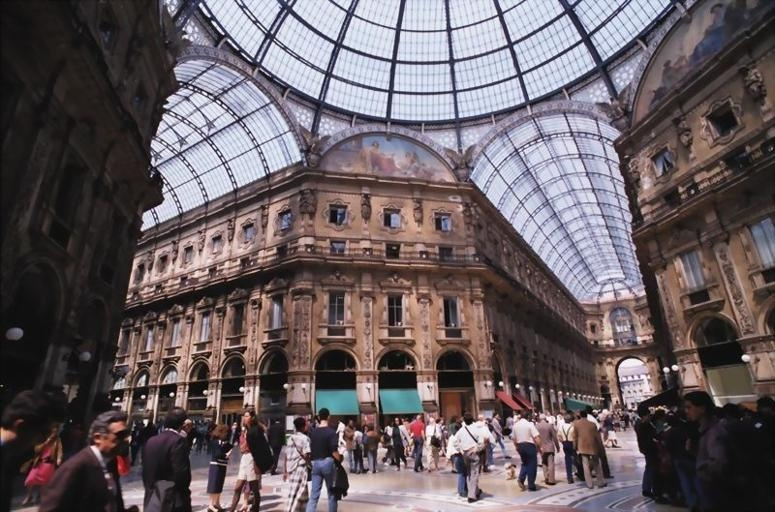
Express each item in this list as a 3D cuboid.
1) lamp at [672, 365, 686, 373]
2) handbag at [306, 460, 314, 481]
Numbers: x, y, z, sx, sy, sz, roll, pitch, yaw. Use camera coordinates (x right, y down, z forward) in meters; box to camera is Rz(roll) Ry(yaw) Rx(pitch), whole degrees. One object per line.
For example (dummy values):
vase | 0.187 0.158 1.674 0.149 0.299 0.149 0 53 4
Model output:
lamp | 16.279 6.273 25.448 0.379 0.562 1.076 -7 -25 14
handbag | -1.943 5.358 11.383 0.143 0.448 0.337 2 -25 -6
